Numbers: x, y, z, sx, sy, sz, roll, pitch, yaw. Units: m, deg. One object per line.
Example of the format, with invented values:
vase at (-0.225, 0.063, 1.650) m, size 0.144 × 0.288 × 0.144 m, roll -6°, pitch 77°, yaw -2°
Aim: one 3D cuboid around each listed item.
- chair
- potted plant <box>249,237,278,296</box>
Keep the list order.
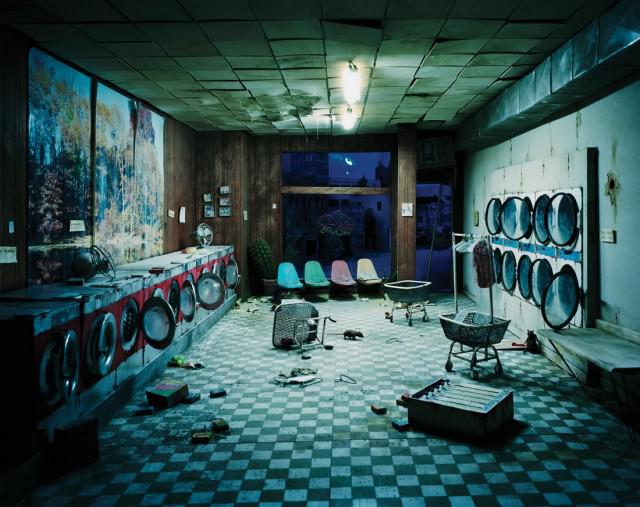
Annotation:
chair at (0.174, 0.431, 9.500) m, size 2.092 × 0.529 × 0.668 m, roll -2°, pitch 9°, yaw -12°
potted plant at (-1.189, 0.294, 9.766) m, size 0.607 × 1.135 × 0.403 m, roll -1°, pitch 8°, yaw -1°
